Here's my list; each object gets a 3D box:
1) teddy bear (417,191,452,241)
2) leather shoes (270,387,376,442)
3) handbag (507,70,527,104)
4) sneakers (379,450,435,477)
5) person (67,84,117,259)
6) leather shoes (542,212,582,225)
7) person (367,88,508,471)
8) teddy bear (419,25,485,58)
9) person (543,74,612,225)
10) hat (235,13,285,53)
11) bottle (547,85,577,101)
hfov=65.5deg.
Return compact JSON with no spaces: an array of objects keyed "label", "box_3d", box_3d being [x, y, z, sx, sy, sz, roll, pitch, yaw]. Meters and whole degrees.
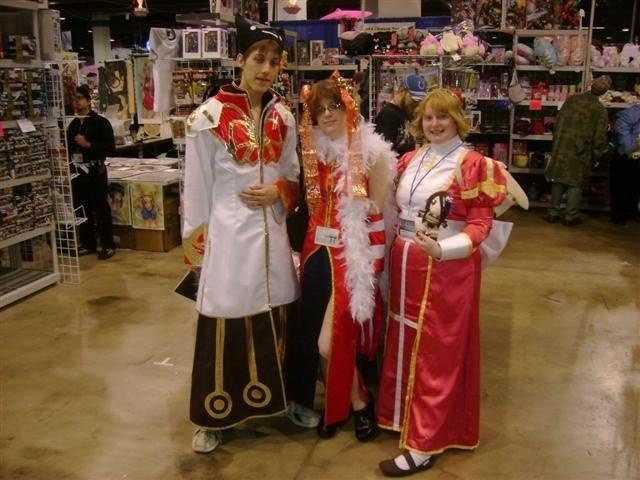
[{"label":"teddy bear","box_3d":[0.560,-0.117,2.402,0.159,0.228,0.126,3,13,11]},{"label":"leather shoes","box_3d":[0.030,1.007,2.809,0.585,0.255,0.199,6,-2,-43]},{"label":"handbag","box_3d":[2.983,-2.281,7.461,0.261,0.456,0.518,6,14,23]},{"label":"sneakers","box_3d":[0.444,1.160,2.544,0.264,0.092,0.114,-8,34,-5]},{"label":"person","box_3d":[-2.624,-0.786,5.774,0.601,1.927,0.457,11,17,38]},{"label":"leather shoes","box_3d":[3.462,-0.298,7.204,0.610,0.276,0.209,3,9,31]},{"label":"person","box_3d":[0.595,0.228,2.528,0.612,1.935,0.574,5,14,19]},{"label":"teddy bear","box_3d":[1.589,-2.327,5.926,0.625,0.289,0.646,0,12,-4]},{"label":"person","box_3d":[3.588,-1.137,6.946,0.715,1.797,0.340,8,15,31]},{"label":"hat","box_3d":[-0.299,-1.022,2.517,0.255,0.208,0.193,-1,18,-12]},{"label":"bottle","box_3d":[3.632,-2.199,7.427,0.251,0.110,0.361,1,55,18]}]
